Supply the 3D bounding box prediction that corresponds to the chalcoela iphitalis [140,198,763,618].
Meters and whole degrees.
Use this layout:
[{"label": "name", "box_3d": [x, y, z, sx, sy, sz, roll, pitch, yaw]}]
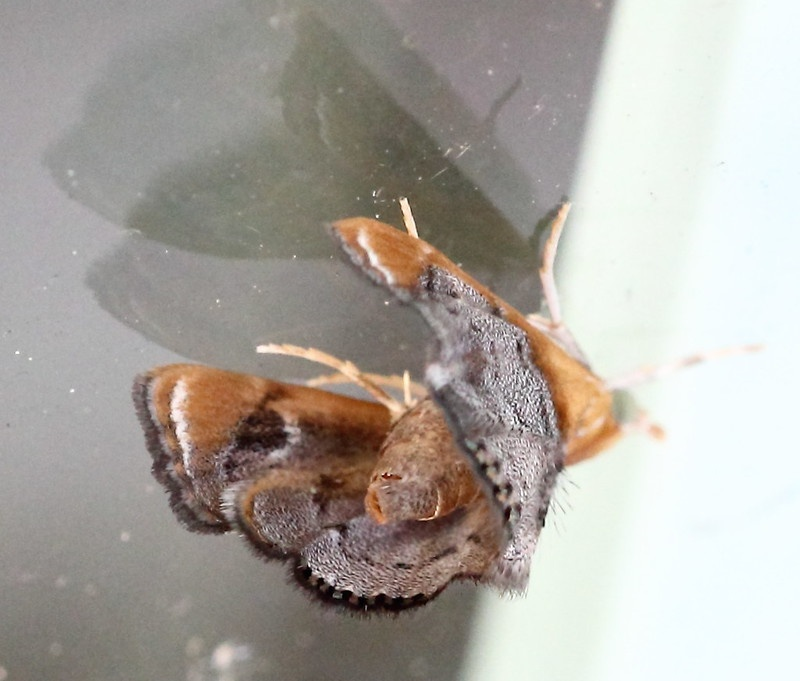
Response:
[{"label": "chalcoela iphitalis", "box_3d": [-0.005, 0.090, 1.127, 0.587, 0.418, 0.442, 26, 79, 7]}]
